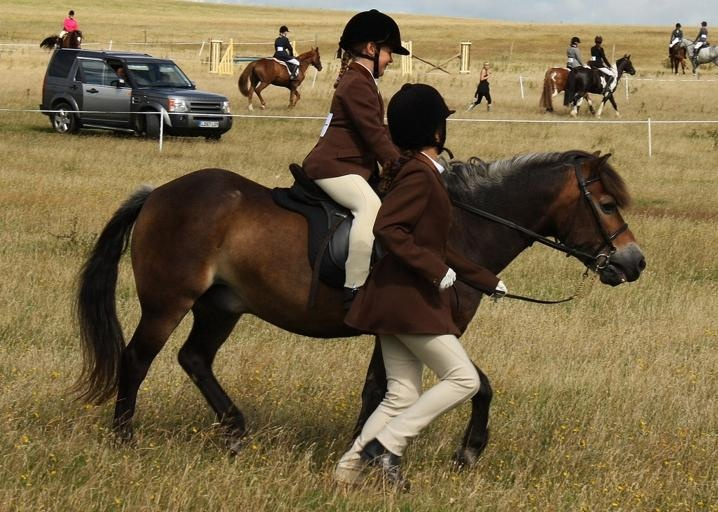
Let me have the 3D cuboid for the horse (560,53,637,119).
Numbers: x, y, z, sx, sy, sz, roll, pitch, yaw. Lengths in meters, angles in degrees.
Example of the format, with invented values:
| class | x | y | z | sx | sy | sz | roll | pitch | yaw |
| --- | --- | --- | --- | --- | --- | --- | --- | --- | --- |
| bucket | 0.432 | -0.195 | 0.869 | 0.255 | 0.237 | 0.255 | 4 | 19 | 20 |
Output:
| class | x | y | z | sx | sy | sz | roll | pitch | yaw |
| --- | --- | --- | --- | --- | --- | --- | --- | --- | --- |
| horse | 8.104 | -5.884 | 31.061 | 1.740 | 1.845 | 4.171 | 9 | 19 | 22 |

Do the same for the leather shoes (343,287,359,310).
| class | x | y | z | sx | sy | sz | roll | pitch | yaw |
| --- | --- | --- | --- | --- | --- | --- | --- | --- | --- |
| leather shoes | -0.091 | 0.389 | 8.143 | 0.165 | 0.177 | 0.068 | 3 | 0 | -3 |

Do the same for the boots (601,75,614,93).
| class | x | y | z | sx | sy | sz | roll | pitch | yaw |
| --- | --- | --- | --- | --- | --- | --- | --- | --- | --- |
| boots | 8.440 | -5.842 | 30.428 | 0.431 | 0.310 | 0.645 | 6 | 55 | -6 |

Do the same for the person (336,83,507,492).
| class | x | y | z | sx | sy | sz | roll | pitch | yaw |
| --- | --- | --- | --- | --- | --- | --- | --- | --- | --- |
| person | 0.466 | 0.324 | 7.845 | 1.243 | 3.503 | 0.962 | 0 | 16 | -6 |

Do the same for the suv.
| class | x | y | z | sx | sy | sz | roll | pitch | yaw |
| --- | --- | --- | --- | --- | --- | --- | --- | --- | --- |
| suv | -5.765 | -4.121 | 23.149 | 4.173 | 1.941 | 2.615 | 5 | 7 | 31 |

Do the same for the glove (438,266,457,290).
| class | x | y | z | sx | sy | sz | roll | pitch | yaw |
| --- | --- | --- | --- | --- | --- | --- | --- | --- | --- |
| glove | 0.740 | 0.207 | 7.652 | 0.090 | 0.182 | 0.133 | 37 | -11 | 5 |

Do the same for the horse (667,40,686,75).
| class | x | y | z | sx | sy | sz | roll | pitch | yaw |
| --- | --- | --- | --- | --- | --- | --- | --- | --- | --- |
| horse | 16.184 | -10.135 | 45.782 | 0.799 | 1.611 | 4.155 | 7 | 18 | 17 |

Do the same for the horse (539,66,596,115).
| class | x | y | z | sx | sy | sz | roll | pitch | yaw |
| --- | --- | --- | --- | --- | --- | --- | --- | --- | --- |
| horse | 7.038 | -5.760 | 30.919 | 1.919 | 1.490 | 0.483 | 6 | 10 | 44 |
